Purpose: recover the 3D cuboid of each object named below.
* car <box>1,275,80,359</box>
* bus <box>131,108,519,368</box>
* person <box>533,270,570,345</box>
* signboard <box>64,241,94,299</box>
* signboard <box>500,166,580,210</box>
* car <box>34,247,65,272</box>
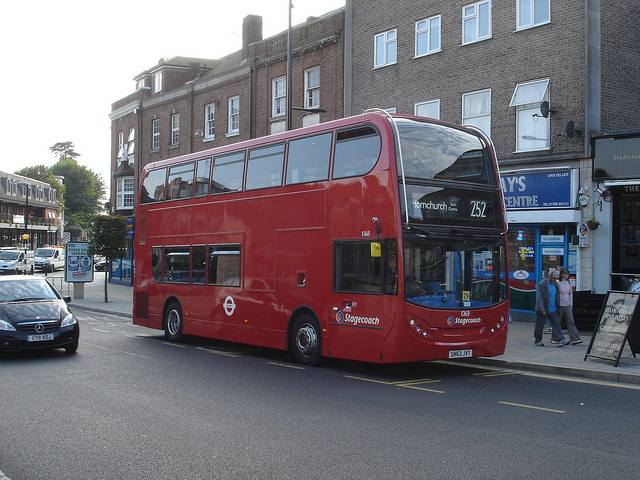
[{"bbox_3d":[-6.835,1.885,13.510,1.600,1.593,1.772,1,-2,-37],"label":"car"},{"bbox_3d":[-0.866,0.097,15.577,3.593,5.540,11.141,2,-3,-43],"label":"bus"},{"bbox_3d":[6.130,1.809,15.113,0.950,2.022,0.676,1,-1,-32],"label":"person"},{"bbox_3d":[-13.454,1.663,31.294,1.377,3.203,1.319,1,-1,-22],"label":"signboard"},{"bbox_3d":[7.902,-1.923,19.838,1.540,1.522,2.795,-18,11,-29],"label":"signboard"},{"bbox_3d":[-27.286,1.908,56.427,2.121,2.503,4.954,1,-2,-19],"label":"car"}]
